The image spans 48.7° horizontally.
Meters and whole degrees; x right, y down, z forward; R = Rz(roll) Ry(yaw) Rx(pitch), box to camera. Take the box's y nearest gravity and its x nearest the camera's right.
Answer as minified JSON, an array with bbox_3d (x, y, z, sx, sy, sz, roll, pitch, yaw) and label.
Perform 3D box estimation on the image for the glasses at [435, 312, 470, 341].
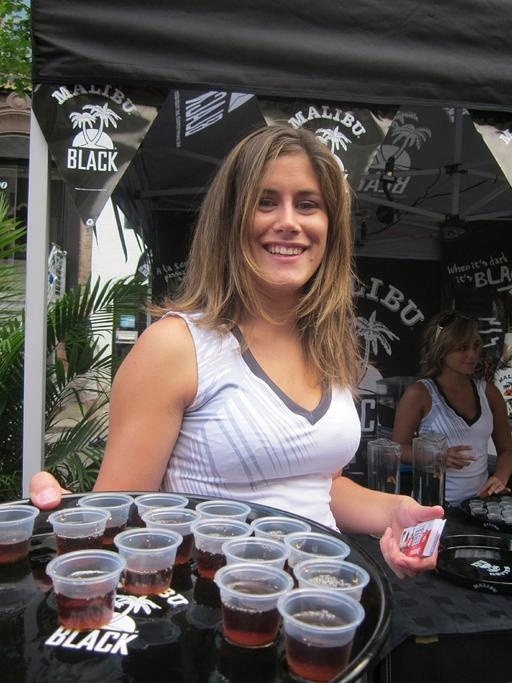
[{"bbox_3d":[1.317,-0.129,3.870,0.182,0.094,0.227,7,-32,-27],"label":"glasses"}]
